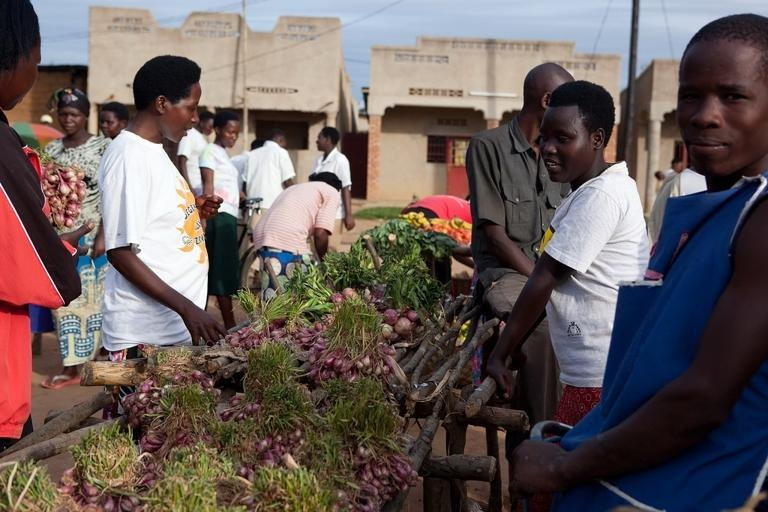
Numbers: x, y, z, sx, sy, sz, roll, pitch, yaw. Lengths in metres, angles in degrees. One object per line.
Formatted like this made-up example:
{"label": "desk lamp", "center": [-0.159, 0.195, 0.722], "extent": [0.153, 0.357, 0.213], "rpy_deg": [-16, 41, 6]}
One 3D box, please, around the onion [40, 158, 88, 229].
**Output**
{"label": "onion", "center": [-1.903, -0.419, 5.095], "extent": [0.220, 0.427, 0.324], "rpy_deg": [-32, -39, 18]}

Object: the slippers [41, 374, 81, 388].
{"label": "slippers", "center": [-2.686, 1.038, 7.200], "extent": [0.148, 0.092, 0.380], "rpy_deg": [1, -6, 28]}

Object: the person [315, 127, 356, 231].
{"label": "person", "center": [-0.661, -0.979, 11.185], "extent": [0.708, 1.514, 0.537], "rpy_deg": [0, 29, 3]}
